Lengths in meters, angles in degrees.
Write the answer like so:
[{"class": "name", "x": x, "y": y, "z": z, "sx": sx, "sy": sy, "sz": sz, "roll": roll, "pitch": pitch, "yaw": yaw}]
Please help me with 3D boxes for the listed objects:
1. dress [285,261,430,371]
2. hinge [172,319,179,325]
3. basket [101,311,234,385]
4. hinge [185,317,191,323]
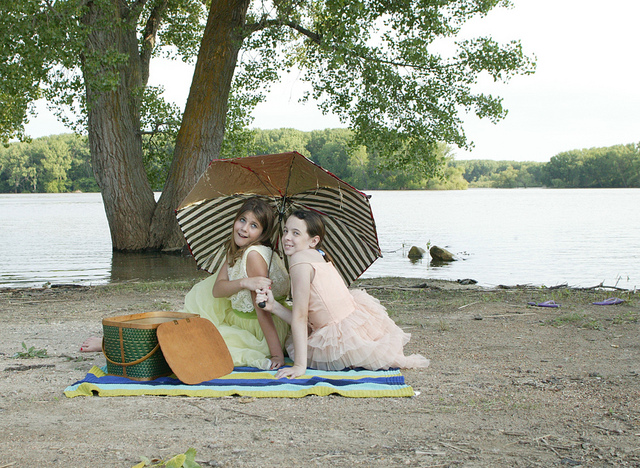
[{"class": "dress", "x": 0.417, "y": 1.185, "z": 10.186, "sx": 1.842, "sy": 1.309, "sz": 1.485, "roll": -5, "pitch": 2, "yaw": -8}, {"class": "hinge", "x": -1.831, "y": 1.108, "z": 9.398, "sx": 0.052, "sy": 0.053, "sz": 0.012, "roll": -5, "pitch": -5, "yaw": -44}, {"class": "basket", "x": -1.826, "y": 1.512, "z": 9.790, "sx": 1.423, "sy": 0.877, "sz": 1.404, "roll": -1, "pitch": 2, "yaw": 24}, {"class": "hinge", "x": -1.683, "y": 1.090, "z": 9.461, "sx": 0.055, "sy": 0.057, "sz": 0.014, "roll": -2, "pitch": -5, "yaw": -21}]
